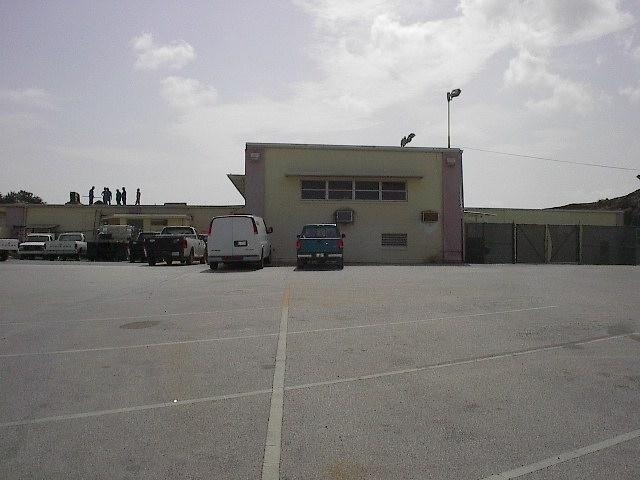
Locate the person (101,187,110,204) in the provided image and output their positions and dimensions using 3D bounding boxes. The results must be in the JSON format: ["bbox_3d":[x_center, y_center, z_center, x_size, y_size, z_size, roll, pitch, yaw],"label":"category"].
[{"bbox_3d":[-23.965,-4.956,57.217,0.699,1.787,3.258,-2,4,-24],"label":"person"}]

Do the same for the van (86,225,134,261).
[{"bbox_3d":[-13.281,0.254,32.042,2.464,2.185,3.962,0,0,-25],"label":"van"}]

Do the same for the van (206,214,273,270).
[{"bbox_3d":[-3.341,0.002,22.518,1.680,1.560,2.995,0,3,3],"label":"van"}]

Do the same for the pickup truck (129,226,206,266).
[{"bbox_3d":[-7.986,0.385,27.156,3.879,2.205,5.794,-2,5,-22],"label":"pickup truck"}]

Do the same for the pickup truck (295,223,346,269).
[{"bbox_3d":[-0.043,0.312,22.357,1.948,1.993,2.175,0,4,-5],"label":"pickup truck"}]
